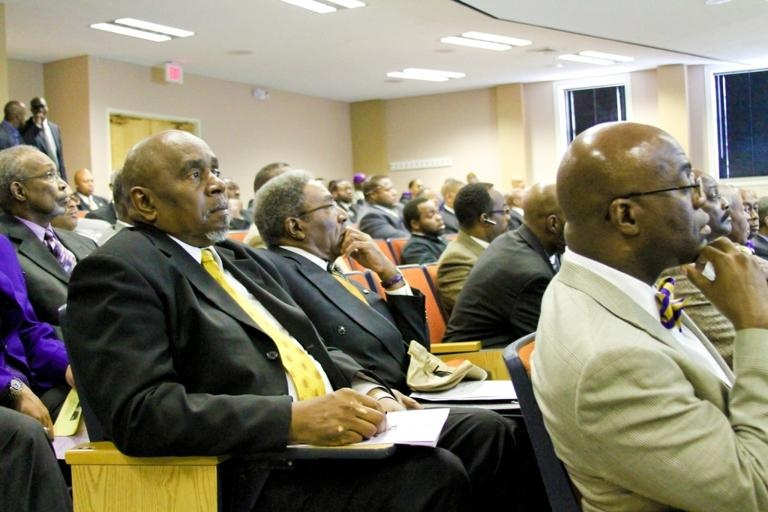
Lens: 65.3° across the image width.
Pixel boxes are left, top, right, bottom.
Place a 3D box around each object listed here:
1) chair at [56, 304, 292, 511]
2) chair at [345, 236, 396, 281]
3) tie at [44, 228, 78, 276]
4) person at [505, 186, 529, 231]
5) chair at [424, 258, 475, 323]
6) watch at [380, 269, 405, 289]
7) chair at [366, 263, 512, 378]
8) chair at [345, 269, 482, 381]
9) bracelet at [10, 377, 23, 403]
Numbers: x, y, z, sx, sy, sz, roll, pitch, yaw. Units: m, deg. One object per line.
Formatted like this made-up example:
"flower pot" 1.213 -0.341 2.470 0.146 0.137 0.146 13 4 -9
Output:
"chair" -0.530 0.427 2.029 0.686 0.769 0.590 -5 -3 -1
"chair" -0.053 -0.011 2.921 0.286 0.158 0.161 26 -43 -34
"tie" -1.581 -0.015 2.916 0.084 0.199 0.149 -37 6 -33
"person" 1.786 -0.630 8.246 0.354 0.539 0.703 -10 5 10
"chair" 0.404 0.232 3.906 0.434 0.555 0.344 0 -6 4
"watch" 0.046 0.114 2.864 0.095 0.051 0.081 -27 -4 32
"chair" 0.312 0.344 3.377 0.668 0.753 0.567 -2 -3 4
"chair" 0.238 0.330 2.803 0.555 0.590 0.444 -14 -1 17
"bracelet" -1.342 0.485 2.183 0.062 0.060 0.019 -6 -11 33
